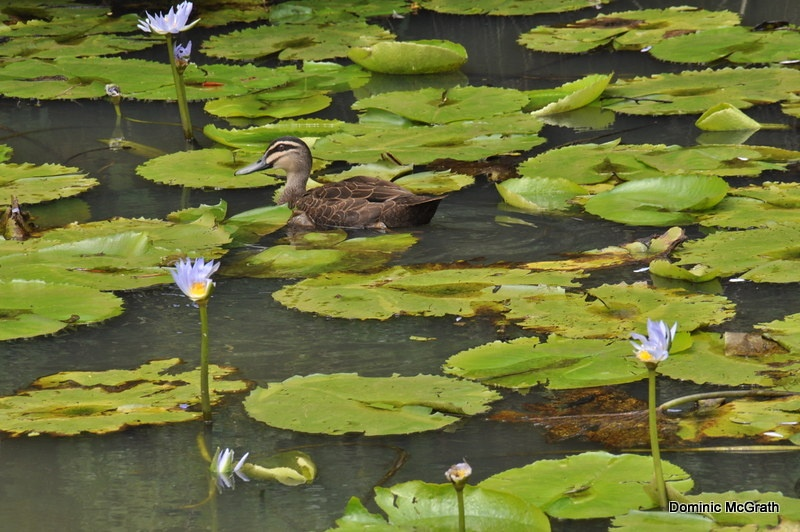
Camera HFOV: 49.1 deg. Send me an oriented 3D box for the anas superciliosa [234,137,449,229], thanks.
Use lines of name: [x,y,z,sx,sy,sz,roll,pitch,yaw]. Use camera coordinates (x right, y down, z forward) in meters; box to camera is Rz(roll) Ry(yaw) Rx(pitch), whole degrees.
anas superciliosa: [-0.448,-0.683,7.555,2.116,0.692,0.667,12,37,37]
